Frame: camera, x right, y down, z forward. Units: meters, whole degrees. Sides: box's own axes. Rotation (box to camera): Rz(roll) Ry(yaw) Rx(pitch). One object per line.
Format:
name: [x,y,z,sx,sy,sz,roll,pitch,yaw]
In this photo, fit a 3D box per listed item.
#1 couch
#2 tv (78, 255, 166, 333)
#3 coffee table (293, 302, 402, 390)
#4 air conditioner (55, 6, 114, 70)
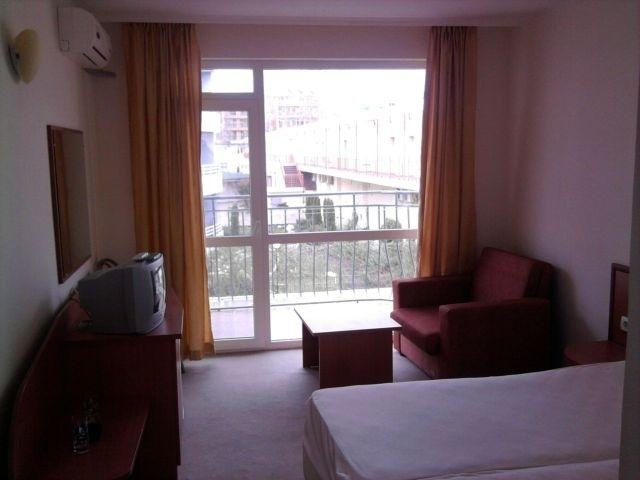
couch: [1.364,0.697,4.950,1.133,1.224,1.166,-1,1,-16]
tv: [-1.359,0.356,3.668,0.449,0.458,0.506,-1,8,-13]
coffee table: [0.242,0.874,4.698,0.666,0.508,0.756,-2,6,-11]
air conditioner: [-1.889,-1.617,4.294,0.229,0.416,0.654,-3,14,-8]
